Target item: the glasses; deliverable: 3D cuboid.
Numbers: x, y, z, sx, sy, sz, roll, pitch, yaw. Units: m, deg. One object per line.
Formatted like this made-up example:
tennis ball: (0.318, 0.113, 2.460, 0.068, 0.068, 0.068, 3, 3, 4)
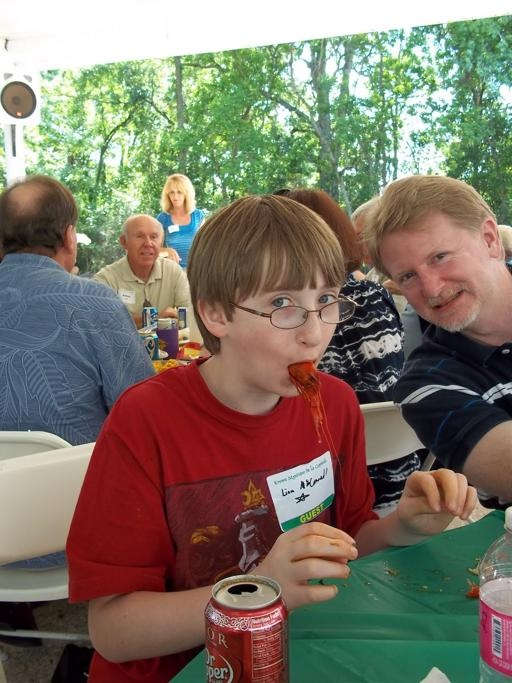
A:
glasses: (0.065, -0.048, 0.961, 0.187, 0.049, 0.089, -3, 5, -19)
